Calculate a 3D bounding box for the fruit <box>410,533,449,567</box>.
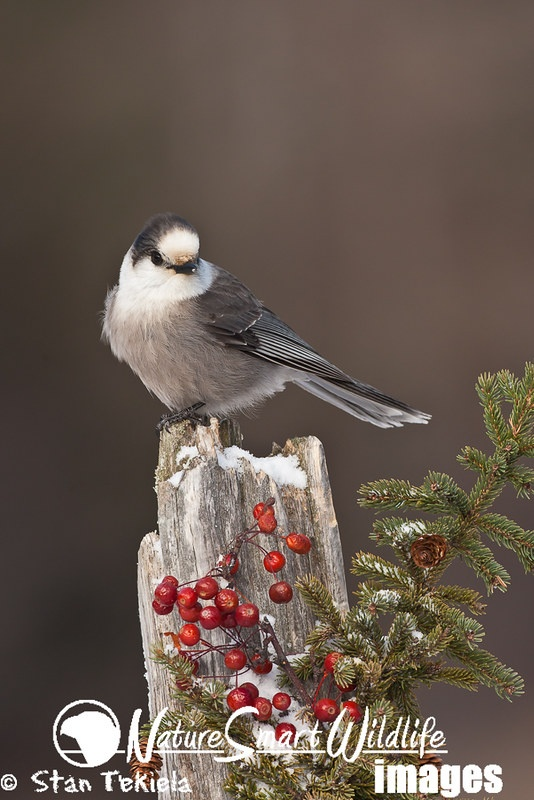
[{"bbox_3d":[0.351,0.336,2.163,0.078,0.067,0.097,-1,-26,7],"label":"fruit"}]
